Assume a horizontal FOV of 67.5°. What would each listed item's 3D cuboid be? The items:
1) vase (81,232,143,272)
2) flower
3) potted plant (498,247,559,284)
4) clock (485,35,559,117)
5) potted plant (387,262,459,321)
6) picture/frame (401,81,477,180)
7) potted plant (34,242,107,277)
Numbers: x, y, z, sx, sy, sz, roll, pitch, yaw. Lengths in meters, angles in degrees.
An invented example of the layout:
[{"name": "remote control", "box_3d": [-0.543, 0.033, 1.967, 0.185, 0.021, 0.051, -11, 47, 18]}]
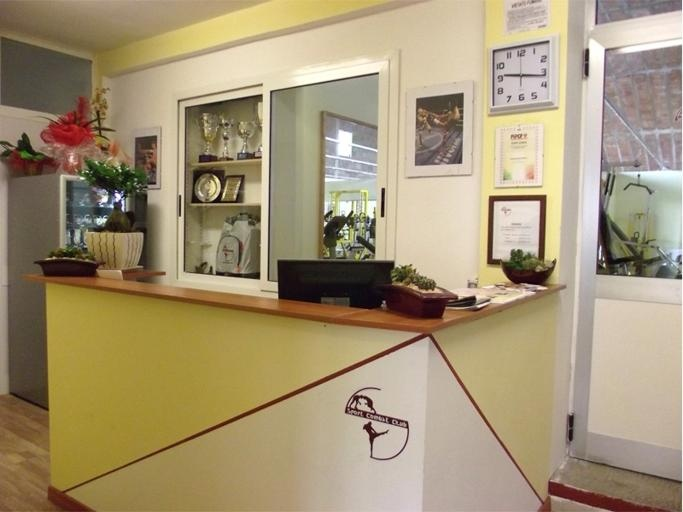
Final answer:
[{"name": "vase", "box_3d": [-1.451, -0.023, 3.253, 0.231, 0.228, 0.301, 1, 1, 41]}, {"name": "flower", "box_3d": [-1.613, -0.605, 3.465, 0.551, 0.936, 0.647, -16, -7, 37]}, {"name": "potted plant", "box_3d": [1.111, 0.093, 3.022, 0.324, 0.170, 0.326, -13, 7, -32]}, {"name": "clock", "box_3d": [1.088, -1.069, 3.029, 0.484, 0.516, 0.052, 2, 2, 33]}, {"name": "potted plant", "box_3d": [0.318, 0.146, 2.088, 0.274, 0.189, 0.218, 2, 3, -2]}, {"name": "picture/frame", "box_3d": [0.690, -0.853, 3.487, 0.664, 0.851, 0.037, 1, 1, 29]}, {"name": "potted plant", "box_3d": [-1.609, 0.036, 3.020, 0.309, 0.164, 0.250, 0, 4, -31]}]
